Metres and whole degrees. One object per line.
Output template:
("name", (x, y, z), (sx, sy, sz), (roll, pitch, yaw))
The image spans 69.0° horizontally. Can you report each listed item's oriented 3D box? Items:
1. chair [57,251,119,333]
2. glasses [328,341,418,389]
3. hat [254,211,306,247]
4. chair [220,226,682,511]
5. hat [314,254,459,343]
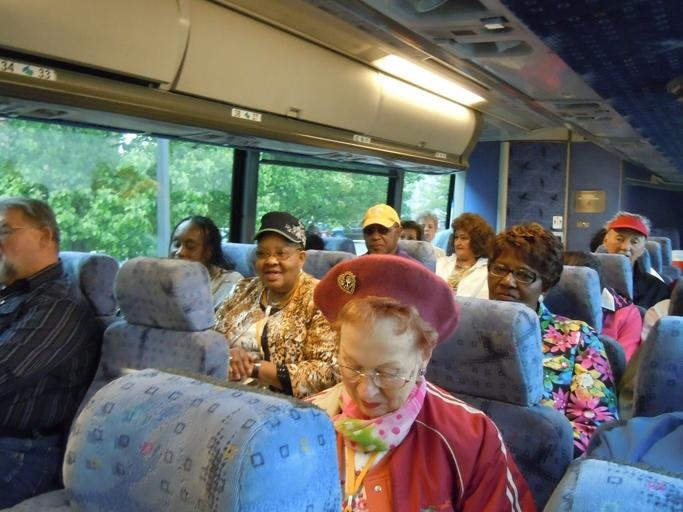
("chair", (-1.332, 0.202, 2.615), (0.428, 0.184, 0.125), (5, -2, 37))
("glasses", (0.097, 0.303, 1.329), (0.203, 0.110, 0.062), (2, -2, 5))
("hat", (-0.360, -0.168, 2.904), (0.263, 0.183, 0.350), (5, -6, 1))
("chair", (0.389, 0.357, 1.765), (1.088, 0.722, 0.572), (3, 8, 29))
("hat", (0.109, 0.101, 1.397), (0.309, 0.287, 0.080), (-7, 42, 44))
